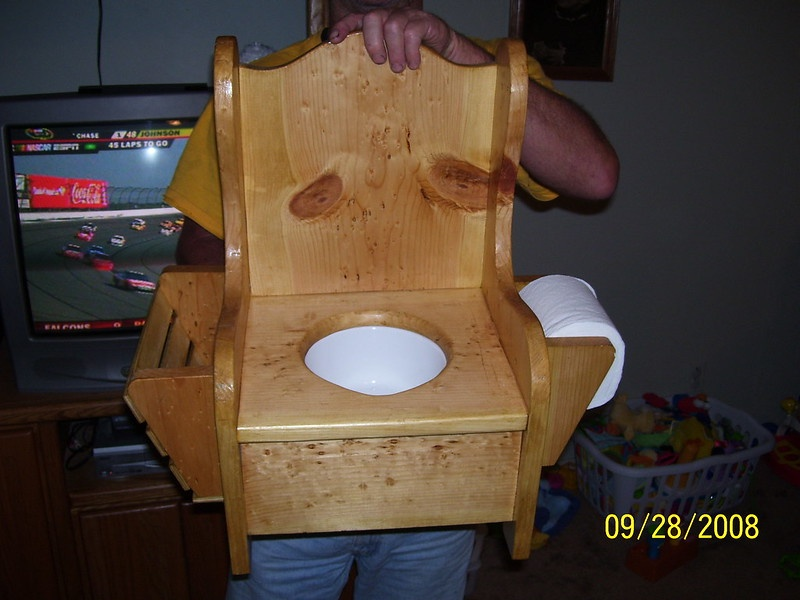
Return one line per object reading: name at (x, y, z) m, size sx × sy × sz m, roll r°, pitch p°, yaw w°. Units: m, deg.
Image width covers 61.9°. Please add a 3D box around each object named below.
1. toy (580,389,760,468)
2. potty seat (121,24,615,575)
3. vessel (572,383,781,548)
toy at (0.878, 0.437, 2.235) m, size 0.409 × 0.130 × 0.265 m, roll -4°, pitch 26°, yaw -12°
potty seat at (-0.060, 0.031, 1.048) m, size 0.751 × 0.649 × 0.414 m, roll 0°, pitch 34°, yaw -5°
vessel at (0.887, 0.596, 2.243) m, size 0.605 × 0.250 × 0.457 m, roll 8°, pitch -13°, yaw -38°
